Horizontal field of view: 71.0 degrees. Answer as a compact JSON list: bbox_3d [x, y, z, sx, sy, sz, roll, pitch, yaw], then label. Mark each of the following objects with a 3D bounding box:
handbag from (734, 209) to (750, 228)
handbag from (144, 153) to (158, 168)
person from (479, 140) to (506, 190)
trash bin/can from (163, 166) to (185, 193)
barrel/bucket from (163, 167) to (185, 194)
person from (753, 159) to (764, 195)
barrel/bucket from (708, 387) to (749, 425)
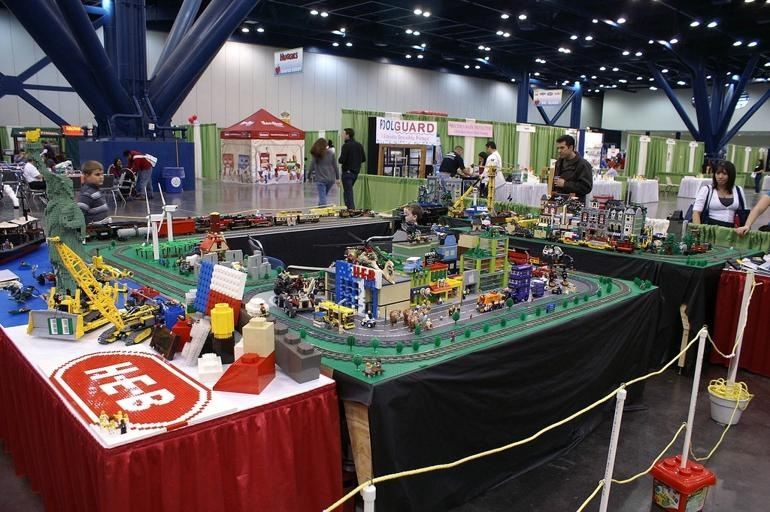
[{"bbox_3d":[5.100,-0.534,7.710,0.150,0.280,0.201,-6,14,-29],"label":"handbag"},{"bbox_3d":[-5.844,-2.375,13.368,0.365,0.138,0.372,25,16,-29],"label":"handbag"},{"bbox_3d":[2.521,-1.895,12.757,0.558,1.569,0.501,4,17,30],"label":"person"},{"bbox_3d":[-5.999,-2.206,15.318,0.762,0.958,0.598,-3,15,-20],"label":"trash bin/can"},{"bbox_3d":[-5.988,-2.203,15.317,0.745,0.937,0.586,-3,15,-19],"label":"barrel/bucket"},{"bbox_3d":[18.855,-4.024,27.143,0.386,1.429,3.807,6,13,34],"label":"person"},{"bbox_3d":[3.746,1.638,5.890,0.351,0.282,0.355,2,2,0],"label":"barrel/bucket"}]
